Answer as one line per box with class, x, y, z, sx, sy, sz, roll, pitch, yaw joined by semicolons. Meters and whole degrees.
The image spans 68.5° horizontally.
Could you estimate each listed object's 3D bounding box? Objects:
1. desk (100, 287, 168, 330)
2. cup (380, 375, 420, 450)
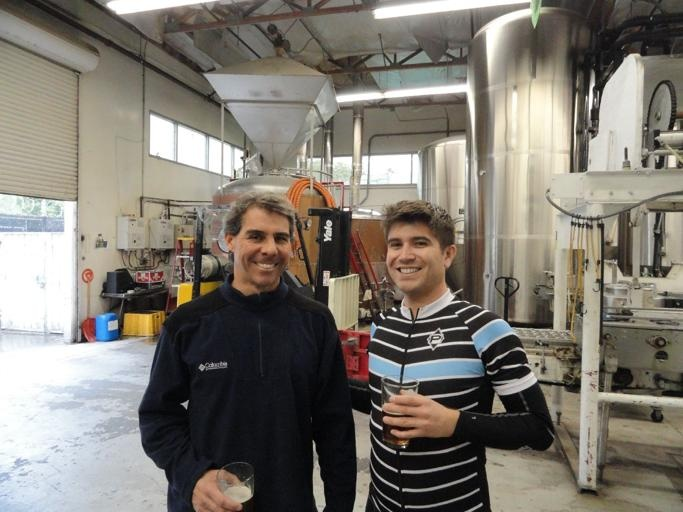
desk;-4.419;1.324;10.813;0.582;0.523;2.076;1;2;1
cup;0.363;0.998;3.153;0.223;0.480;0.135;1;8;4
